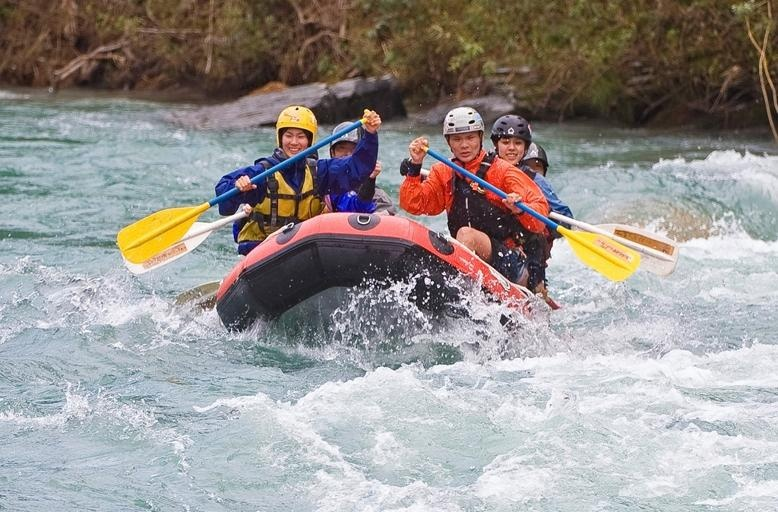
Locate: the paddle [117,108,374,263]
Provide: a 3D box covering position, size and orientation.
[{"bbox_3d":[-1.846,-0.836,12.208,3.178,0.632,0.122,-27,-8,0],"label":"paddle"}]

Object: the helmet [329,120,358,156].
[{"bbox_3d":[-0.465,-1.326,11.079,0.364,0.452,0.440,1,20,0],"label":"helmet"}]

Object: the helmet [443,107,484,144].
[{"bbox_3d":[0.816,-1.455,10.731,0.397,0.368,0.532,0,19,4],"label":"helmet"}]

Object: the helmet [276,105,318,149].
[{"bbox_3d":[-0.973,-1.440,10.864,0.429,0.403,0.524,0,13,3],"label":"helmet"}]

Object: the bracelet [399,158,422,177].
[{"bbox_3d":[0.266,-0.965,10.673,0.167,0.221,0.085,-16,36,50],"label":"bracelet"}]

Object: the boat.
[{"bbox_3d":[-0.191,0.116,10.058,2.275,1.293,0.496,10,55,-13],"label":"boat"}]

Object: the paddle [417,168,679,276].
[{"bbox_3d":[2.130,-0.369,10.929,2.206,0.094,0.487,20,30,0],"label":"paddle"}]

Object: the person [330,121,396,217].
[{"bbox_3d":[-0.293,-0.897,10.998,0.711,1.069,0.359,-1,26,14],"label":"person"}]
